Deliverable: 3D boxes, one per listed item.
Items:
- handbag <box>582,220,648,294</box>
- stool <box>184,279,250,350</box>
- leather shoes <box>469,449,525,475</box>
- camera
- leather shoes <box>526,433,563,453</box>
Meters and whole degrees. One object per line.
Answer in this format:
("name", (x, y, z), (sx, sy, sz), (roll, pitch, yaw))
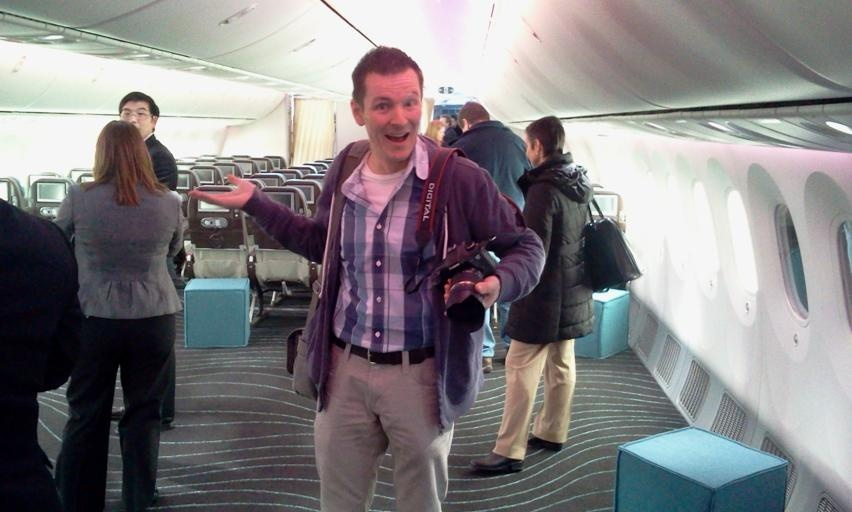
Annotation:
("handbag", (1.625, -0.045, 4.897), (0.342, 0.588, 0.484), (-26, 4, -6))
("stool", (-2.791, 0.791, 7.652), (0.970, 0.749, 0.960), (0, 1, 15))
("leather shoes", (0.609, 1.762, 4.806), (0.422, 0.206, 0.184), (3, -8, -5))
("camera", (0.201, 0.126, 2.571), (0.143, 0.354, 0.387), (11, 32, -24))
("leather shoes", (1.084, 1.707, 5.172), (0.365, 0.152, 0.125), (10, 8, 43))
